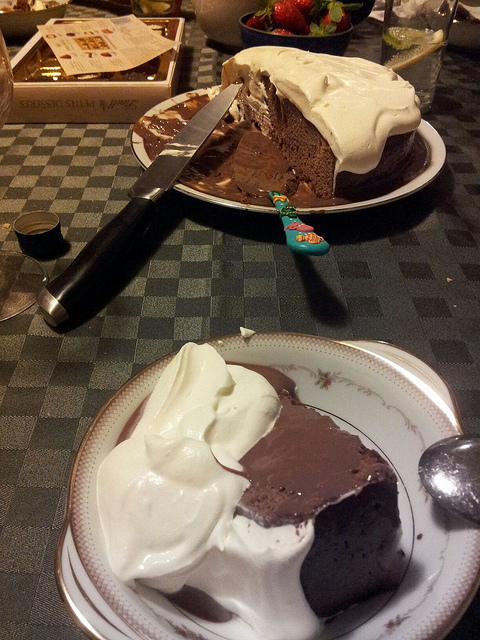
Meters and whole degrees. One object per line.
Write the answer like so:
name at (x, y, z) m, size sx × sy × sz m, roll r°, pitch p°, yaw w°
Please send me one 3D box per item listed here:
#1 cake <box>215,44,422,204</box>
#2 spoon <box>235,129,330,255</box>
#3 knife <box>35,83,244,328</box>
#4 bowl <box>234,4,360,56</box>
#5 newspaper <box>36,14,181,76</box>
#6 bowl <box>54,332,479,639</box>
cake at (0.184, -0.440, 1.111) m, size 0.300 × 0.147 × 0.490 m, roll -18°, pitch 46°, yaw -17°
spoon at (0.056, -0.241, 1.000) m, size 0.107 × 0.397 × 0.029 m, roll -11°, pitch 63°, yaw 18°
knife at (-0.086, -0.250, 0.972) m, size 0.111 × 0.080 × 0.745 m, roll 31°, pitch 55°, yaw 12°
bowl at (0.119, -0.641, 1.232) m, size 0.222 × 0.088 × 0.216 m, roll 3°, pitch 40°, yaw -2°
newspaper at (-0.296, -0.659, 1.339) m, size 0.305 × 0.039 × 0.356 m, roll -17°, pitch 50°, yaw -16°
bowl at (0.029, 0.126, 0.485) m, size 0.332 × 0.059 × 0.276 m, roll 1°, pitch 47°, yaw 0°
